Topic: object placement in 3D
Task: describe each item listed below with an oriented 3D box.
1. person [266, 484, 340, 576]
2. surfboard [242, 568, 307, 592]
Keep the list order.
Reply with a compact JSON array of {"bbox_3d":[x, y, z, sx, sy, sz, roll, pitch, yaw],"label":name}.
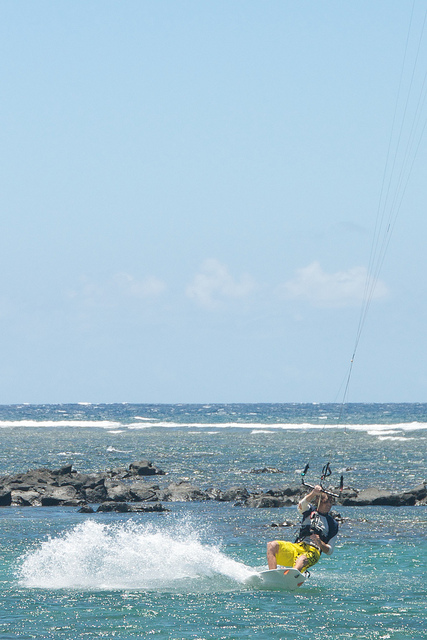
[{"bbox_3d":[2.007,4.668,26.826,1.302,1.350,1.106,3,-3,28],"label":"person"},{"bbox_3d":[1.384,5.857,27.113,0.386,0.572,2.205,-7,-8,-40],"label":"surfboard"}]
